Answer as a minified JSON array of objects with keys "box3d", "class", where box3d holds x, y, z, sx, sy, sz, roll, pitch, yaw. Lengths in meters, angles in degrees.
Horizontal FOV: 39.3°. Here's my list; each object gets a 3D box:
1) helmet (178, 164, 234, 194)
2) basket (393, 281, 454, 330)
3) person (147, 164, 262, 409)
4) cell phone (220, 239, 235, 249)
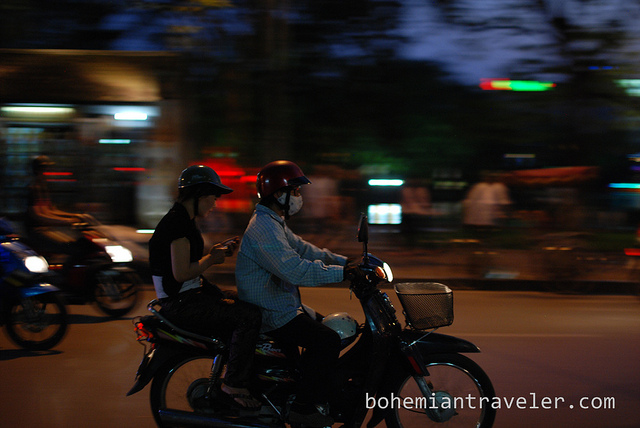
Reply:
[{"box3d":[-1.556,-0.464,12.205,0.698,0.228,0.428,-3,0,-11],"class":"helmet"},{"box3d":[1.467,1.273,12.219,1.117,0.510,0.747,-3,-1,-15],"class":"basket"},{"box3d":[-1.506,0.967,12.044,1.558,3.212,0.430,4,4,13],"class":"person"},{"box3d":[-1.250,0.410,12.022,0.296,0.055,0.076,-21,-7,-6],"class":"cell phone"}]
